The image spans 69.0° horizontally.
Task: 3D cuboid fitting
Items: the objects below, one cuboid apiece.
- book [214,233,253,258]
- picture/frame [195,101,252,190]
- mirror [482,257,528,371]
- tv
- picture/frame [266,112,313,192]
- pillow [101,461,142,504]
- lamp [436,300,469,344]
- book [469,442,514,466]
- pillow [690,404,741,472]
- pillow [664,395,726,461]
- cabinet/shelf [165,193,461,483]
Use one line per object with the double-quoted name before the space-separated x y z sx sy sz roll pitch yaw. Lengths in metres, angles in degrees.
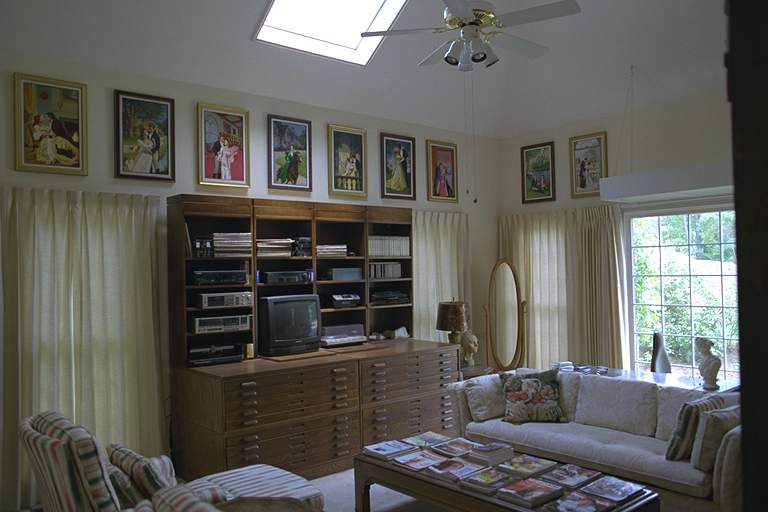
"book" -1.410 -0.104 5.159 0.361 0.177 0.050 -2 -1 -29
"picture/frame" -1.597 -1.087 5.527 0.518 0.650 0.052 -2 -1 -37
"mirror" 1.529 0.727 7.032 0.493 1.377 0.390 -3 -1 11
"tv" -0.916 0.616 5.677 0.847 0.789 0.478 1 -4 -40
"picture/frame" -1.013 -1.101 5.967 0.515 0.673 0.037 -2 -1 -37
"pillow" -1.327 1.162 2.842 0.078 0.175 0.173 -33 0 -3
"lamp" 0.768 0.778 6.624 0.422 0.665 0.442 0 2 2
"book" 0.716 1.346 3.833 0.170 0.063 0.130 -1 -1 -41
"pillow" 2.149 1.175 3.566 0.303 0.460 0.156 -3 -1 -4
"pillow" 2.029 1.166 3.757 0.124 0.399 0.410 13 13 39
"cabinet/shelf" -0.763 0.791 5.300 2.673 2.502 0.950 0 -4 -44
